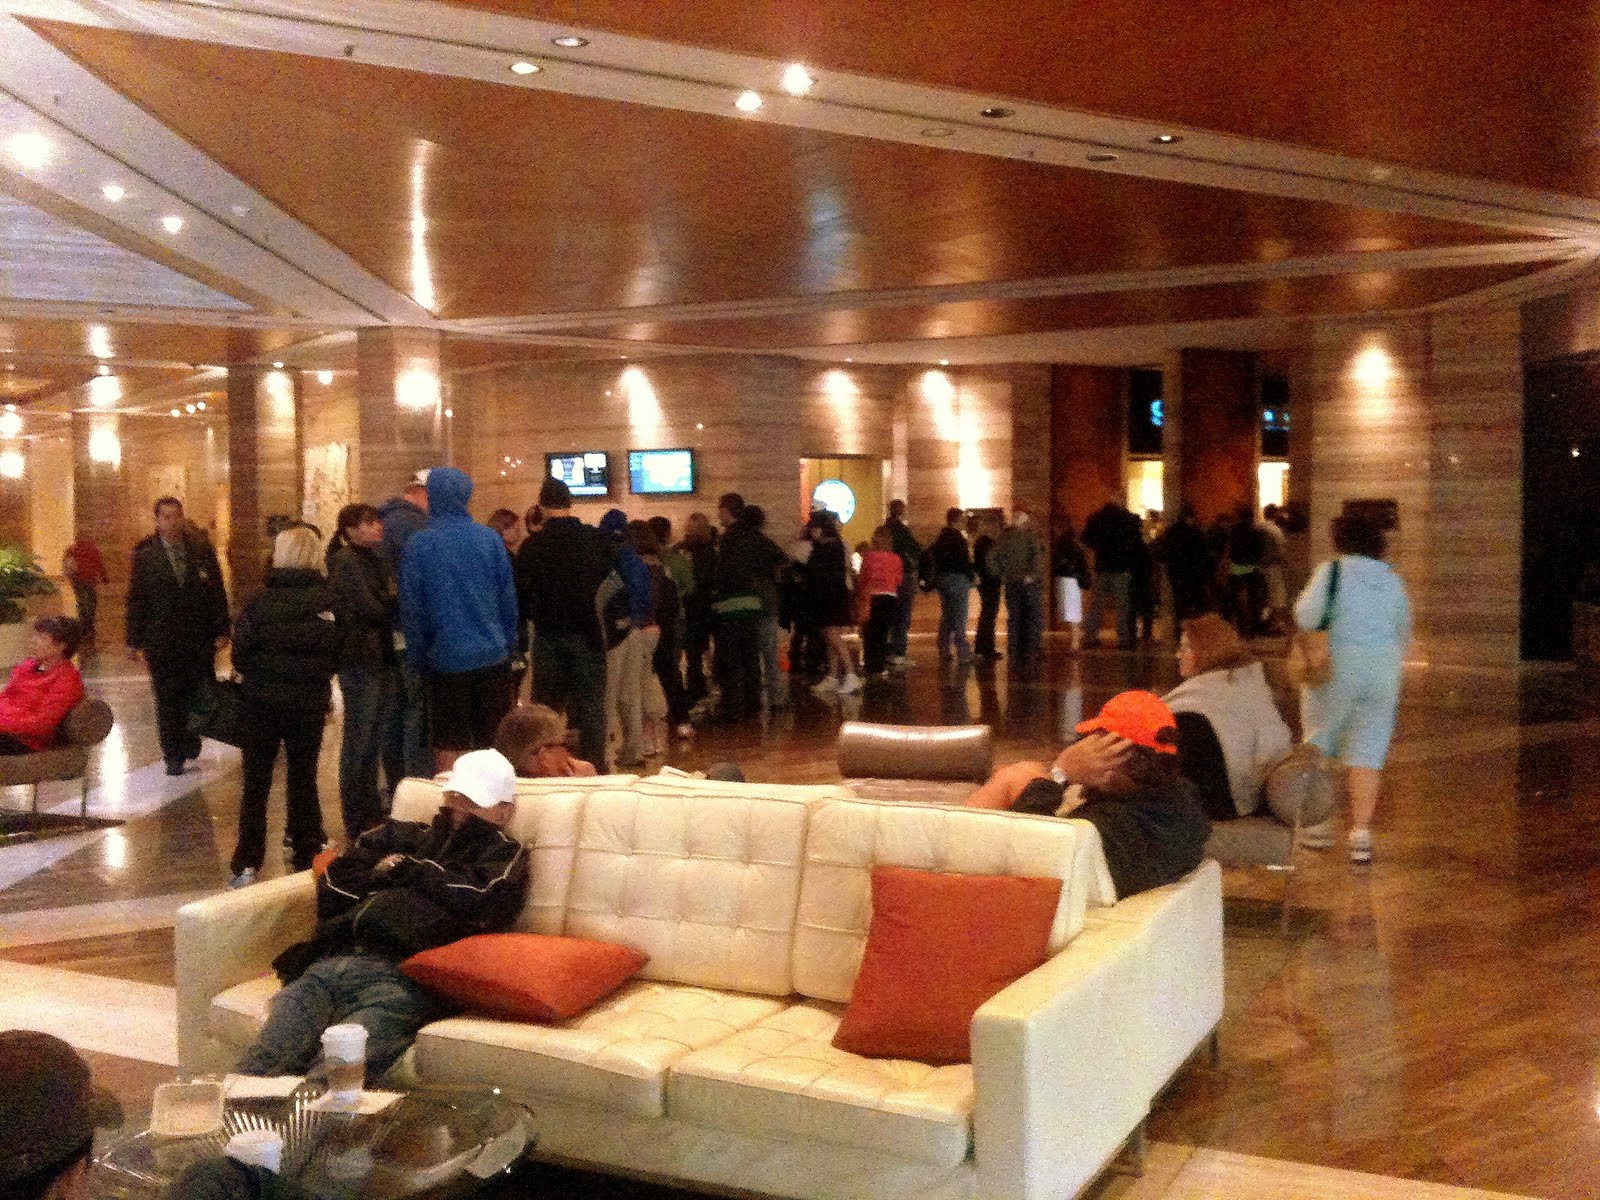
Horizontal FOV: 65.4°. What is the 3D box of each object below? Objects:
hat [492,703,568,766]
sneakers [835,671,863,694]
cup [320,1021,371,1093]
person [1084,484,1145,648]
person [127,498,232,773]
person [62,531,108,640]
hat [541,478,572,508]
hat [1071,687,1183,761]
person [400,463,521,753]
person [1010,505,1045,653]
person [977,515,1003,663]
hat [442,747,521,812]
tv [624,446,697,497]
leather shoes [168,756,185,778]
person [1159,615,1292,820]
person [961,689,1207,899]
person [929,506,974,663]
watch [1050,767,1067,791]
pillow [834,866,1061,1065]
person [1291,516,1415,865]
[{"bbox_3d":[-0.967,0.485,4.481,0.267,0.145,0.182,-16,24,-16],"label":"hat"},{"bbox_3d":[0.476,0.772,11.847,0.223,0.163,0.591,0,5,3],"label":"sneakers"},{"bbox_3d":[-1.121,1.118,3.062,0.090,0.182,0.149,-3,7,-17],"label":"cup"},{"bbox_3d":[3.815,-0.356,15.125,0.705,1.851,0.776,1,7,12],"label":"person"},{"bbox_3d":[-4.382,0.253,8.765,0.631,1.947,0.548,-4,8,-25],"label":"person"},{"bbox_3d":[-7.207,-0.118,12.537,0.235,1.129,0.308,1,7,12],"label":"person"},{"bbox_3d":[-1.450,-0.652,7.343,0.176,0.184,0.202,-1,-6,-16],"label":"hat"},{"bbox_3d":[1.099,0.403,4.118,0.319,0.150,0.219,1,-1,16],"label":"hat"},{"bbox_3d":[-1.750,0.044,6.373,0.358,1.440,0.479,2,8,25],"label":"person"},{"bbox_3d":[2.563,-0.115,14.133,0.335,1.522,0.430,0,7,6],"label":"person"},{"bbox_3d":[2.199,-0.129,14.443,0.310,1.553,0.829,0,7,9],"label":"person"},{"bbox_3d":[-1.024,0.593,4.082,0.175,0.117,0.219,11,-3,14],"label":"hat"},{"bbox_3d":[-1.625,-1.555,14.831,0.712,0.405,0.088,-1,7,7],"label":"tv"},{"bbox_3d":[-4.417,1.185,8.767,0.118,0.113,0.109,-1,-10,-1],"label":"leather shoes"},{"bbox_3d":[1.885,0.557,5.639,0.595,0.921,0.705,12,21,43],"label":"person"},{"bbox_3d":[0.935,0.575,4.307,1.028,0.515,0.656,12,14,40],"label":"person"},{"bbox_3d":[1.747,-0.173,14.051,0.456,1.729,1.318,0,7,9],"label":"person"},{"bbox_3d":[0.865,0.587,4.132,0.045,0.056,0.019,-24,-25,28],"label":"watch"},{"bbox_3d":[0.492,0.945,3.612,0.734,0.205,0.721,-7,8,-10],"label":"pillow"},{"bbox_3d":[2.805,0.431,6.346,0.500,1.756,0.382,3,8,30],"label":"person"}]
